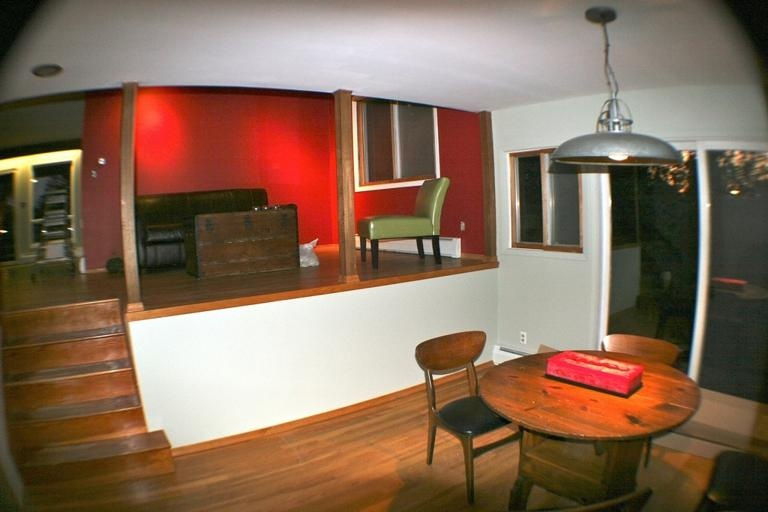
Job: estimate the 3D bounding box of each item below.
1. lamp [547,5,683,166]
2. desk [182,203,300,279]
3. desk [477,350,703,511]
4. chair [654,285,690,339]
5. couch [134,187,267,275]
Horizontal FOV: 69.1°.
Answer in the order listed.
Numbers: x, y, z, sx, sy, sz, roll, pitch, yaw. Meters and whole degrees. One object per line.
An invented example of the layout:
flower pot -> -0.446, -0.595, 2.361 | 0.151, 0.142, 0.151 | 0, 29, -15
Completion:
lamp -> 1.182, -0.851, 2.930 | 0.555, 0.783, 1.366 | 1, 11, 16
desk -> -1.147, -0.089, 5.379 | 1.053, 0.595, 0.556 | -5, -1, 13
desk -> 1.010, 0.974, 2.817 | 1.033, 0.835, 0.868 | 0, 10, 7
chair -> 2.139, 0.407, 4.148 | 0.234, 0.363, 0.231 | 13, 5, 24
couch -> -2.162, -0.342, 6.701 | 1.626, 0.705, 0.531 | -7, 32, -27
